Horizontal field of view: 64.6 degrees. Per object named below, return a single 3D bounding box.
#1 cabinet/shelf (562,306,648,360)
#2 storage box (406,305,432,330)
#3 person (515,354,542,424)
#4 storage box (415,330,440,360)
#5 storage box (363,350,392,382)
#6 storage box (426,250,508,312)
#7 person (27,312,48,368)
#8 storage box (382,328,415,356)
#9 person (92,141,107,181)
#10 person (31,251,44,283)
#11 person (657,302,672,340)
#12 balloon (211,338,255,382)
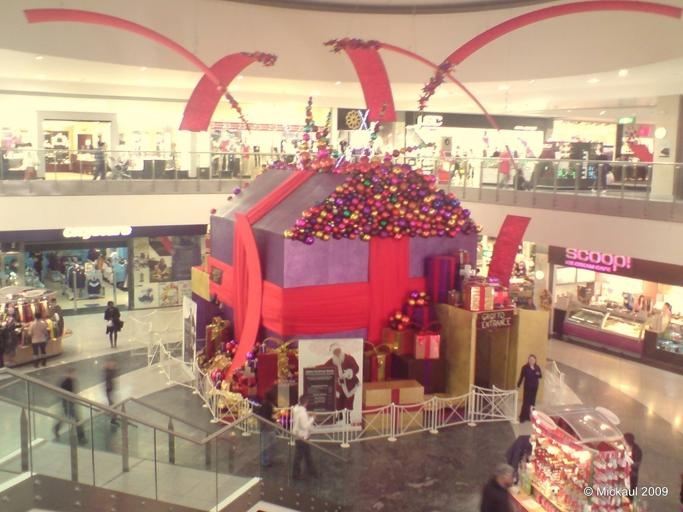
[{"bbox_3d":[7.191,2.021,14.802,0.446,0.988,2.109,-6,10,-34],"label":"cabinet/shelf"},{"bbox_3d":[1.613,1.250,11.205,0.470,0.523,0.465,1,-2,7],"label":"storage box"},{"bbox_3d":[3.535,2.492,10.293,0.390,1.286,0.475,5,10,34],"label":"person"},{"bbox_3d":[1.700,1.781,10.762,0.571,0.558,0.318,0,1,-14],"label":"storage box"},{"bbox_3d":[0.690,2.174,10.761,0.546,0.539,0.549,0,8,-7],"label":"storage box"},{"bbox_3d":[2.434,0.496,11.128,1.233,0.784,1.213,-1,8,-29],"label":"storage box"},{"bbox_3d":[-7.148,2.016,12.846,0.390,1.107,0.826,-4,9,-27],"label":"person"},{"bbox_3d":[1.167,1.678,11.063,0.552,0.549,0.557,-1,4,-5],"label":"storage box"},{"bbox_3d":[-6.732,-2.540,15.069,0.339,0.810,0.142,-4,9,-25],"label":"person"},{"bbox_3d":[-9.491,0.330,16.982,0.275,0.941,0.155,-7,11,-39],"label":"person"},{"bbox_3d":[8.154,1.593,13.624,0.257,0.834,0.254,4,9,29],"label":"person"},{"bbox_3d":[-2.298,2.196,11.251,0.741,0.782,1.409,-5,10,-28],"label":"balloon"}]
